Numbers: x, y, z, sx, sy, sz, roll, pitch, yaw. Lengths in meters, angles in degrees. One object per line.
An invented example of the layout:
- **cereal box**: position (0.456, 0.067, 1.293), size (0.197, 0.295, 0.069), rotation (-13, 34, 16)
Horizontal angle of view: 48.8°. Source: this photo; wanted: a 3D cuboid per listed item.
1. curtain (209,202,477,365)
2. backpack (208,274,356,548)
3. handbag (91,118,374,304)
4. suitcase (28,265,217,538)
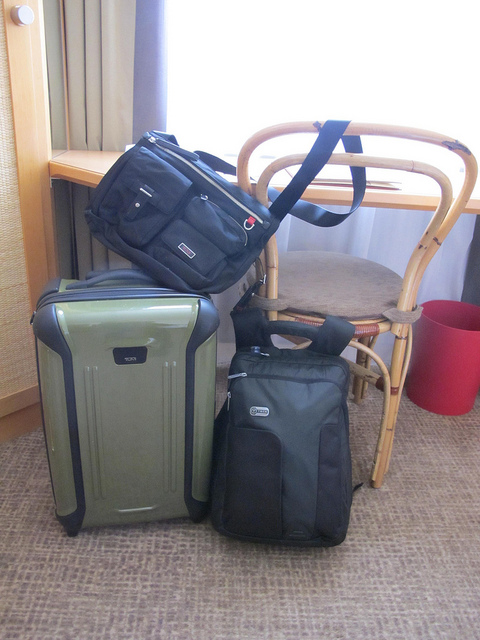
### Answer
- **curtain**: position (0.343, -0.227, 1.793), size (0.635, 0.698, 0.627), rotation (17, 36, 30)
- **backpack**: position (0.091, 0.198, 1.086), size (0.291, 0.476, 0.245), rotation (2, 16, 3)
- **handbag**: position (0.083, -0.273, 1.297), size (0.277, 0.440, 0.737), rotation (39, 18, 14)
- **suitcase**: position (-0.226, 0.167, 1.071), size (0.324, 0.504, 0.269), rotation (-3, 33, -15)
